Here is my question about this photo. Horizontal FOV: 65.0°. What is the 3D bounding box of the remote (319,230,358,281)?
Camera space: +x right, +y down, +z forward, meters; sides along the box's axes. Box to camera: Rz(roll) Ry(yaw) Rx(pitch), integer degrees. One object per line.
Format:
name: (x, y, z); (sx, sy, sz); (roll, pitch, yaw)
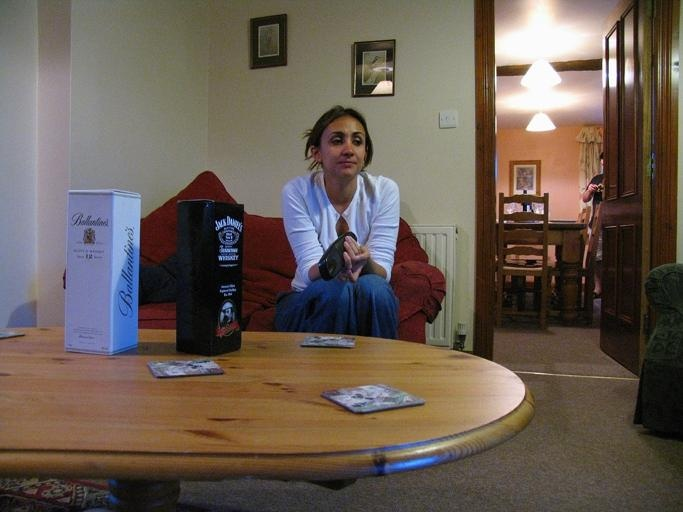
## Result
remote: (-0.012, 0.005, 1.913); (0.091, 0.173, 0.234); (3, 12, 12)

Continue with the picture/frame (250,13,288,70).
picture/frame: (-0.487, -1.454, 3.635); (0.371, 0.444, 0.036); (0, 1, 17)

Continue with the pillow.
pillow: (-0.895, -0.223, 3.150); (0.488, 0.703, 0.204); (-9, -25, 30)

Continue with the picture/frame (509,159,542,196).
picture/frame: (3.100, -1.334, 9.038); (0.543, 0.571, 0.195); (5, 12, 20)

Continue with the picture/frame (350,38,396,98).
picture/frame: (0.214, -1.213, 3.461); (0.369, 0.469, 0.030); (0, -4, 6)

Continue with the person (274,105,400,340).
person: (-0.001, -0.136, 2.156); (0.547, 0.921, 0.678); (0, 11, -7)

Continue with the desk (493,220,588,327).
desk: (1.921, 0.118, 4.945); (1.125, 0.929, 0.556); (-10, 16, -44)
